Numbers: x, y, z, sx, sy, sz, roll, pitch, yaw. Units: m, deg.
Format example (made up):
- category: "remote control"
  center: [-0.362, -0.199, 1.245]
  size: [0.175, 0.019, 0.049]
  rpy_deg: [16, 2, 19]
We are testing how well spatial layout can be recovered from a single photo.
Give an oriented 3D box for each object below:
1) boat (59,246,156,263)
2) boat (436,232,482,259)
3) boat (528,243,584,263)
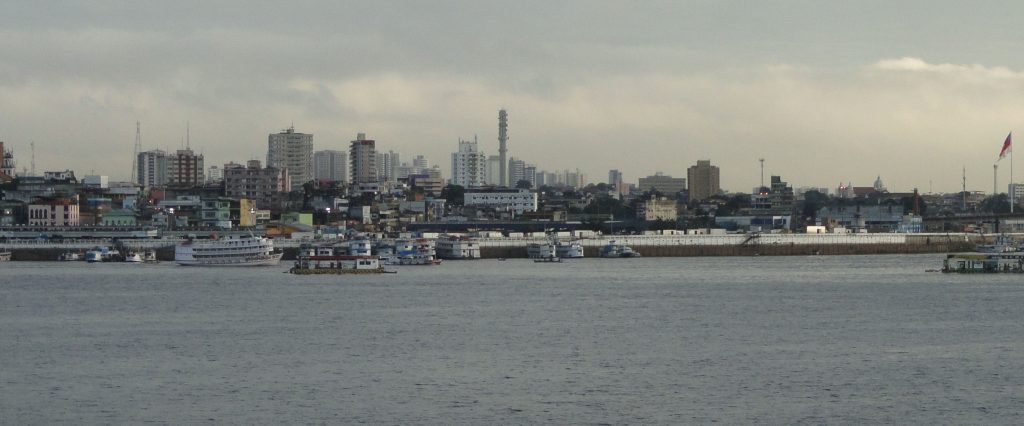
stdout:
- category: "boat"
  center: [-80.199, 8.286, 413.857]
  size: [18.053, 2.944, 5.222]
  rpy_deg: [0, -1, -3]
- category: "boat"
  center: [-10.525, 6.956, 416.925]
  size: [7.066, 4.574, 5.676]
  rpy_deg: [-1, -2, 43]
- category: "boat"
  center: [8.437, 8.037, 417.289]
  size: [9.617, 3.550, 10.814]
  rpy_deg: [0, -1, 19]
